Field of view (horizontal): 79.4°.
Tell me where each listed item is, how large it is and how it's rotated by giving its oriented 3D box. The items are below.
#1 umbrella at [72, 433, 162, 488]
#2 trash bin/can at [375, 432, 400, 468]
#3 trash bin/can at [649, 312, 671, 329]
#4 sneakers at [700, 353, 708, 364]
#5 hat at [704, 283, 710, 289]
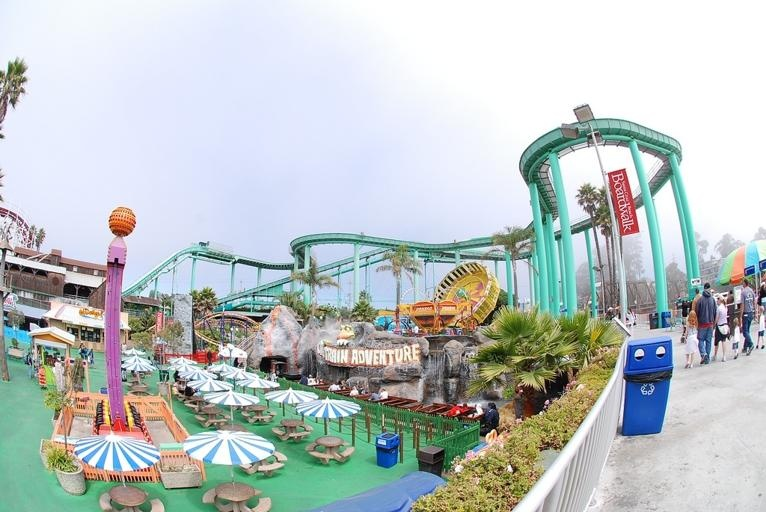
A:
[{"bbox_3d":[-8.472,6.234,14.649,2.354,0.978,1.186,-2,-12,-10],"label":"umbrella"},{"bbox_3d":[0.250,8.158,19.626,1.156,1.410,1.161,-10,-12,44],"label":"trash bin/can"},{"bbox_3d":[18.853,4.453,31.398,0.747,0.775,1.484,-2,-1,8],"label":"trash bin/can"},{"bbox_3d":[11.690,3.809,16.831,0.138,0.426,0.180,5,18,25],"label":"sneakers"},{"bbox_3d":[11.615,1.120,16.568,0.232,0.180,0.242,0,-5,12],"label":"hat"}]
